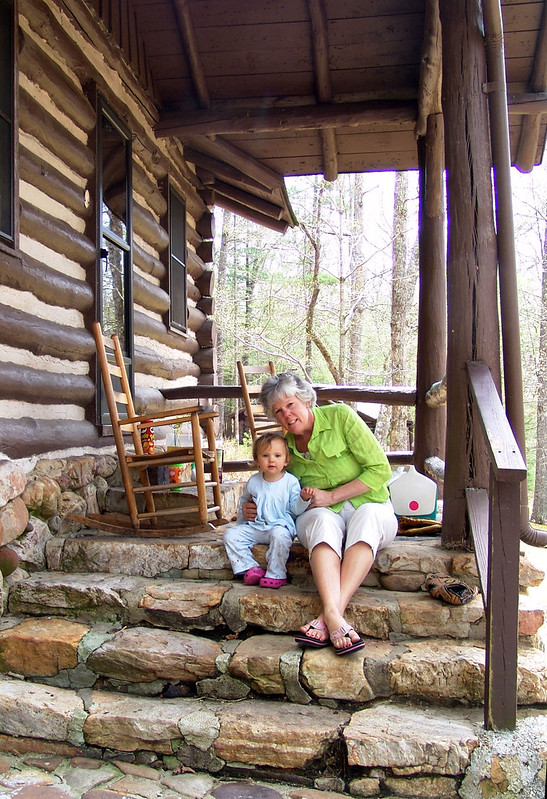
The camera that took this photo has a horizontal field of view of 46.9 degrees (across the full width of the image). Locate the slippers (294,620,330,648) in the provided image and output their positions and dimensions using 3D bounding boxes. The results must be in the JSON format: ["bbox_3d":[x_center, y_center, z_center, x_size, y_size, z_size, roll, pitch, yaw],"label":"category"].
[{"bbox_3d":[0.141,0.839,2.233,0.064,0.066,0.153,0,-16,7],"label":"slippers"}]

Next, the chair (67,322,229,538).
[{"bbox_3d":[-0.734,0.189,3.873,0.760,1.221,1.953,-5,0,-6],"label":"chair"}]

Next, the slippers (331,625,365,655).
[{"bbox_3d":[0.259,0.836,2.183,0.057,0.067,0.157,-9,-13,-12],"label":"slippers"}]

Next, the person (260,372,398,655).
[{"bbox_3d":[0.205,0.382,2.537,0.539,1.081,0.756,-5,0,11],"label":"person"}]
